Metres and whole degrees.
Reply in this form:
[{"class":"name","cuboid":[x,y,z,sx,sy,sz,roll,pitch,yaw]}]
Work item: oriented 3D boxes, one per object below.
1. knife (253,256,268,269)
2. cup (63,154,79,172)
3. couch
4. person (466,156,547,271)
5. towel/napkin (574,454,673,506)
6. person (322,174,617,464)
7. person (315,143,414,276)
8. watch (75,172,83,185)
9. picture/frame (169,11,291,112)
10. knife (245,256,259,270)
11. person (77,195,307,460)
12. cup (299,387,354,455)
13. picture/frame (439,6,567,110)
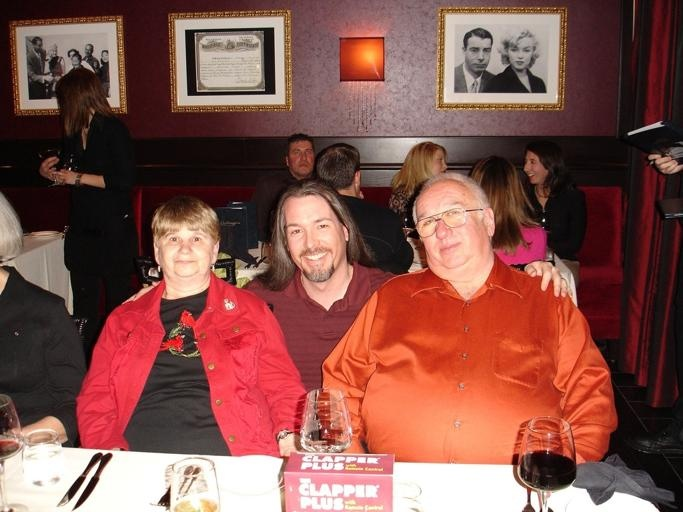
[{"class":"knife","cuboid":[-0.499,0.036,3.484,0.069,0.095,0.099,0,-4,14]},{"class":"cup","cuboid":[-1.876,-0.648,3.792,0.084,0.115,0.058,-10,13,-37]},{"class":"couch","cuboid":[0.206,0.084,2.562,1.291,0.529,0.397,1,-23,10]},{"class":"person","cuboid":[1.035,-0.272,3.503,0.459,0.795,0.335,-16,0,15]},{"class":"towel/napkin","cuboid":[0.812,0.653,1.595,0.195,0.056,0.175,-1,3,9]},{"class":"person","cuboid":[0.461,0.221,2.041,1.017,0.999,0.520,3,11,27]},{"class":"person","cuboid":[0.013,-0.273,3.158,0.828,0.726,0.436,-3,14,2]},{"class":"watch","cuboid":[-1.808,-0.533,3.774,0.057,0.073,0.028,-2,10,2]},{"class":"picture/frame","cuboid":[-1.020,-1.860,5.118,0.883,0.643,0.034,0,10,6]},{"class":"knife","cuboid":[-0.563,0.041,3.460,0.075,0.069,0.062,-2,3,34]},{"class":"person","cuboid":[-0.590,0.265,2.130,0.861,0.956,0.431,-3,10,-6]},{"class":"cup","cuboid":[-0.046,0.514,1.734,0.175,0.196,0.200,0,-8,7]},{"class":"picture/frame","cuboid":[1.491,-1.854,5.000,0.873,0.659,0.044,1,8,0]}]
